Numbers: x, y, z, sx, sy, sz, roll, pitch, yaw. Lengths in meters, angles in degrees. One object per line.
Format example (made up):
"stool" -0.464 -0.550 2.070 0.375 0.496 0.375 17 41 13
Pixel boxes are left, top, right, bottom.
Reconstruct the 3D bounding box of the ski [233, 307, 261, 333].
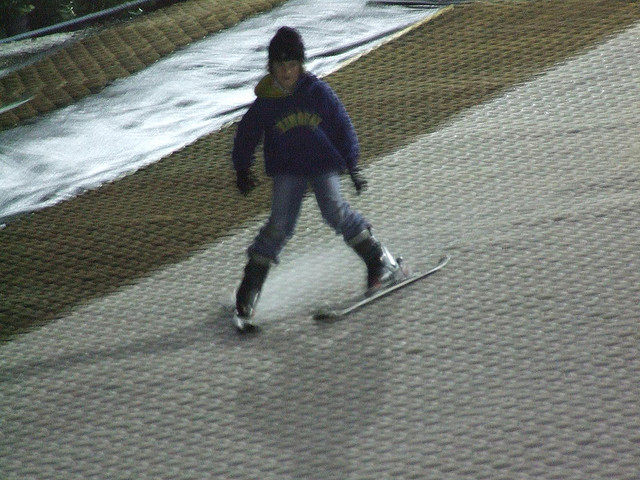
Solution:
"ski" -0.447 0.500 5.379 0.136 0.145 0.125 -45 4 13

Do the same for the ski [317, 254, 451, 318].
"ski" 0.447 0.301 5.430 1.062 0.064 0.090 -17 42 -4
